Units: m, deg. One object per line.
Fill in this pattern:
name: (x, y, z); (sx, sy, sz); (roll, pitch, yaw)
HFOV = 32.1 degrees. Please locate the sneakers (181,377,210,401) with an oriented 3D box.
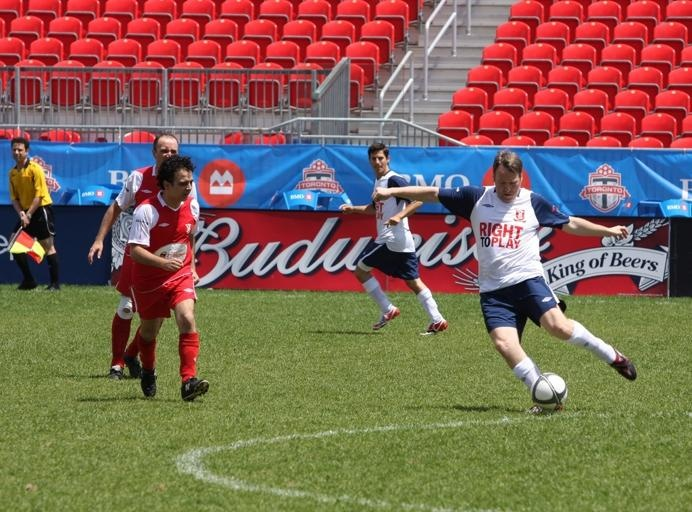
sneakers: (-1.606, 1.432, 12.692); (0.289, 0.285, 0.268); (-3, 15, -10)

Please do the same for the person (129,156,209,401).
person: (-1.903, 0.262, 12.670); (0.737, 2.590, 0.888); (-4, 15, -10)

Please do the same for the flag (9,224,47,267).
flag: (-4.826, -0.117, 17.985); (0.181, 0.487, 0.504); (-33, -36, 16)

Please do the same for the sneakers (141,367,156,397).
sneakers: (-2.130, 1.378, 12.898); (0.121, 0.326, 0.142); (-4, 6, -10)

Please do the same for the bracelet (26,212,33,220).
bracelet: (-4.724, -0.573, 17.824); (0.090, 0.085, 0.031); (-8, -39, -7)
